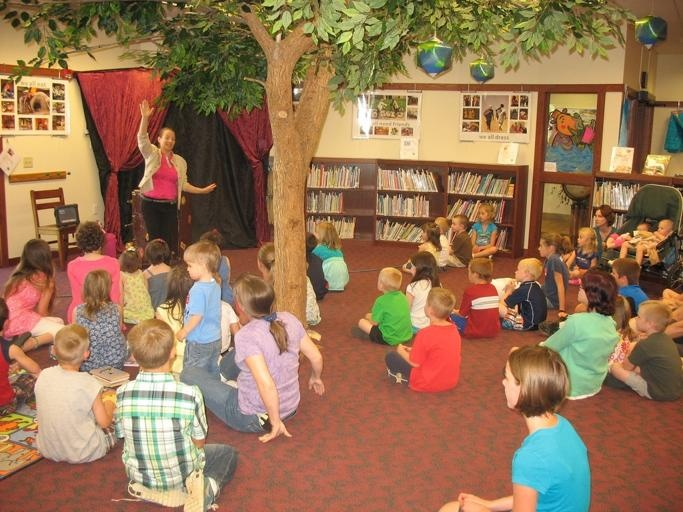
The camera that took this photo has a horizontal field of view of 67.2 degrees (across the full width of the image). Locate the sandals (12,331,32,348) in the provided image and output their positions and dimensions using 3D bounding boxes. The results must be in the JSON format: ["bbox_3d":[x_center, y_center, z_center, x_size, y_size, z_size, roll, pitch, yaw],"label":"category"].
[{"bbox_3d":[-2.763,0.707,4.437,0.050,0.165,0.067,47,-1,15],"label":"sandals"}]
